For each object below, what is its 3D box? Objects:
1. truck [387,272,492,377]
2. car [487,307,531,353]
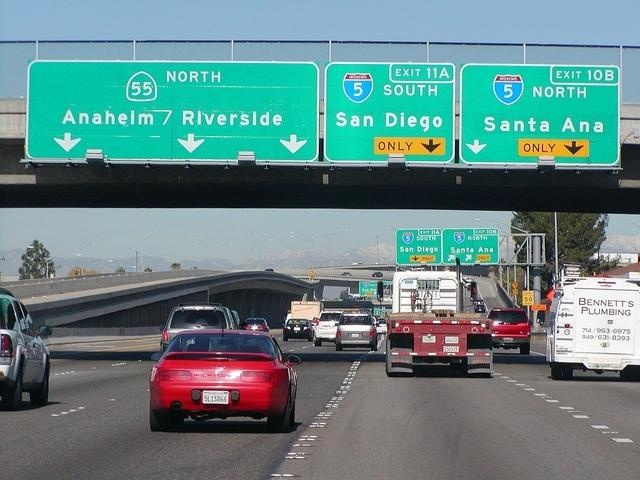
[{"bbox_3d":[3.874,2.881,36.331,2.311,2.779,4.967,0,-1,1],"label":"truck"},{"bbox_3d":[9.208,4.478,51.534,1.959,2.147,4.629,0,-7,11],"label":"car"}]
